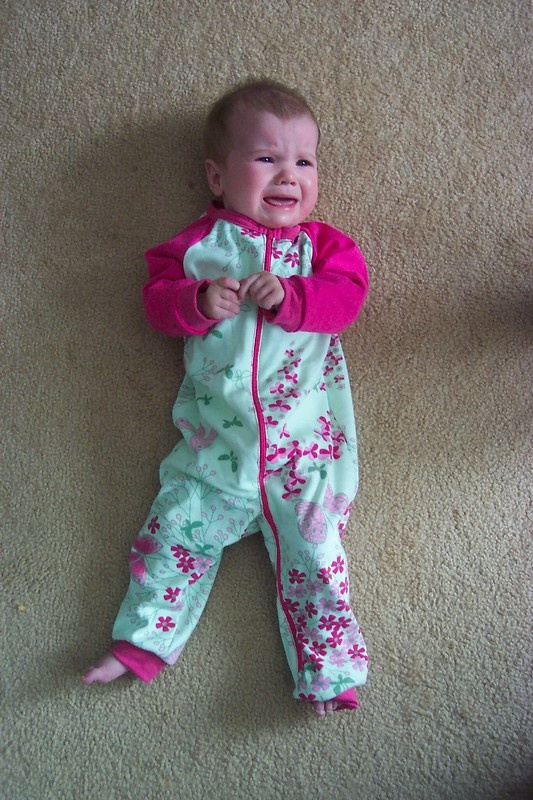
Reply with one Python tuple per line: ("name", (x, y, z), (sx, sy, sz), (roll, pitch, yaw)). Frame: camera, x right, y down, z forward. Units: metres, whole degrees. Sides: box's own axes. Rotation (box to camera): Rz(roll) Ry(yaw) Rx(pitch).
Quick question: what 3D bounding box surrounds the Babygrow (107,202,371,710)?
("Babygrow", (-0.020, 0.082, 1.298), (0.460, 0.256, 0.728), (2, 86, 2))
